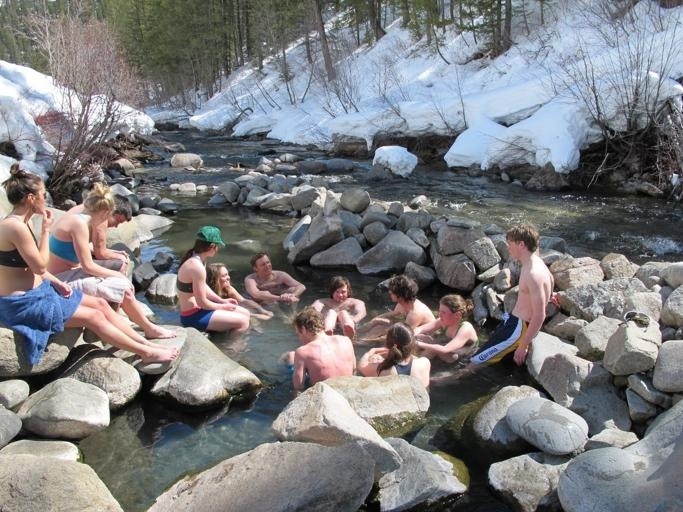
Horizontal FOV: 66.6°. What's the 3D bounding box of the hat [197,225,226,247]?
[{"bbox_3d":[-1.939,-0.298,7.500,0.383,0.282,0.325,-11,21,-41],"label":"hat"}]
